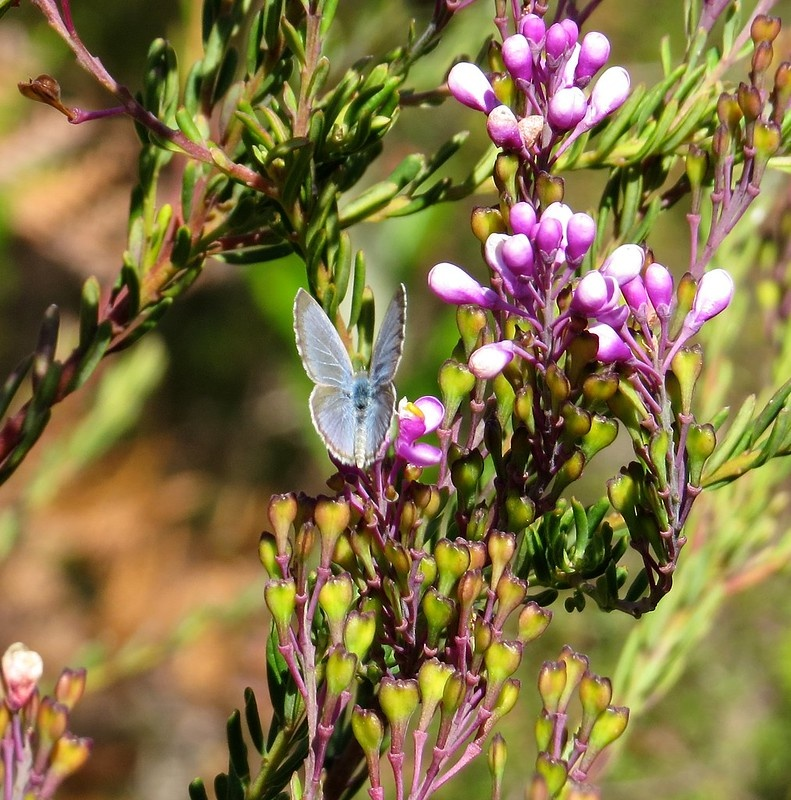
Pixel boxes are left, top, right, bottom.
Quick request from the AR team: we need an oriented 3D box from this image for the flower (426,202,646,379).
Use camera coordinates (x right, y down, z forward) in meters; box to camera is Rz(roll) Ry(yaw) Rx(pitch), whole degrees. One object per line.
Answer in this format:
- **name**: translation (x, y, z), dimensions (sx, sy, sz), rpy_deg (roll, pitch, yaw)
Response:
- **flower**: translation (0.146, -0.098, 1.339), dimensions (0.153, 0.227, 0.181), rpy_deg (3, 0, 8)

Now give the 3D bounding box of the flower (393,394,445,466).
- **flower**: translation (0.020, 0.031, 1.356), dimensions (0.043, 0.031, 0.074), rpy_deg (12, 70, 10)

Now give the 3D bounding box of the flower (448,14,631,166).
- **flower**: translation (0.152, -0.336, 1.416), dimensions (0.183, 0.163, 0.131), rpy_deg (-26, 27, -35)

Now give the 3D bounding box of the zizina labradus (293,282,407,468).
- **zizina labradus**: translation (-0.047, -0.041, 1.411), dimensions (0.115, 0.182, 0.161), rpy_deg (-15, 22, -18)
